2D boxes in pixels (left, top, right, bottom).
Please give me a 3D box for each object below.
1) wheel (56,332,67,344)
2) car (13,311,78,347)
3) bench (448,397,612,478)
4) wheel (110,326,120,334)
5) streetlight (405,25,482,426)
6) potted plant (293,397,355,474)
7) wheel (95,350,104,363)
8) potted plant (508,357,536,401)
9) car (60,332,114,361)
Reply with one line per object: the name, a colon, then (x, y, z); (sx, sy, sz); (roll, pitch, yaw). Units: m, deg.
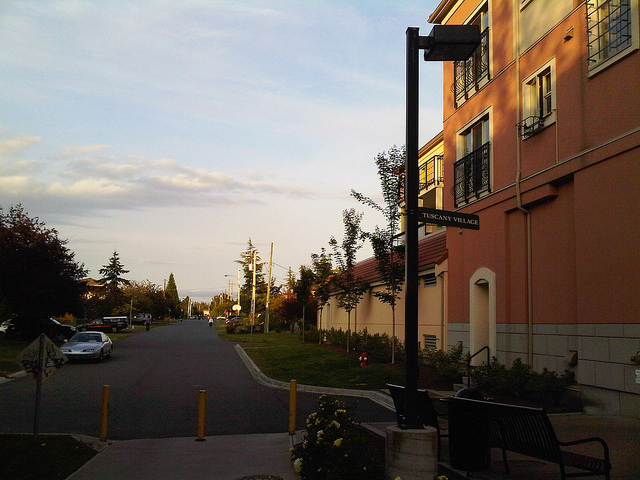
wheel: (-18.723, 7.119, 42.387); (0.765, 0.743, 0.955); (4, -11, -14)
car: (-19.653, 6.354, 41.789); (3.320, 2.199, 3.666); (9, -13, -36)
bench: (3.399, 3.166, 9.334); (1.696, 1.142, 2.295); (11, -15, -42)
wheel: (-21.001, 9.237, 59.949); (0.651, 0.692, 0.249); (9, 7, -25)
streetlight: (1.692, -0.367, 8.637); (0.918, 6.116, 0.518); (-1, -10, 9)
potted plant: (-0.006, 3.551, 10.463); (0.839, 1.365, 1.690); (7, -12, -33)
wheel: (-10.845, 5.761, 28.810); (0.232, 0.660, 0.638); (3, -5, 0)
potted plant: (5.424, 3.890, 16.063); (0.805, 1.169, 0.850); (4, -4, 24)
car: (-11.739, 5.428, 29.699); (1.790, 1.451, 2.623); (2, -11, -6)
